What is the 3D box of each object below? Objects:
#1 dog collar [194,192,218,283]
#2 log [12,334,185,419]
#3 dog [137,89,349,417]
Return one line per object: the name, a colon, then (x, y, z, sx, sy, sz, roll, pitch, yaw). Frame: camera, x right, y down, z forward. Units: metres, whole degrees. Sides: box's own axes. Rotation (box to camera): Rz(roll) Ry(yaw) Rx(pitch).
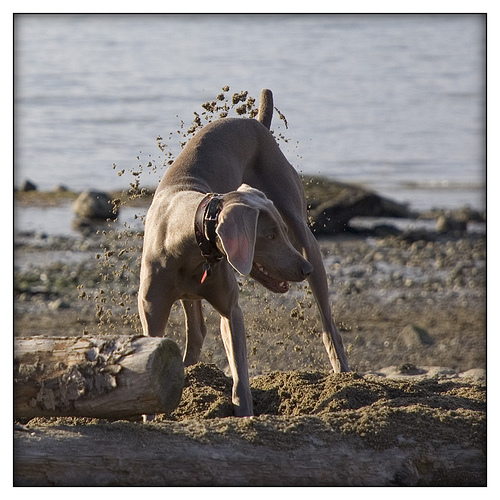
dog collar: (-0.291, -0.081, 7.270, 0.179, 0.519, 0.152, -14, 19, -36)
log: (-0.982, 0.804, 7.287, 1.100, 0.487, 0.555, -5, 6, 23)
dog: (-0.130, 0.020, 7.951, 1.190, 2.175, 2.066, 2, -3, 3)
